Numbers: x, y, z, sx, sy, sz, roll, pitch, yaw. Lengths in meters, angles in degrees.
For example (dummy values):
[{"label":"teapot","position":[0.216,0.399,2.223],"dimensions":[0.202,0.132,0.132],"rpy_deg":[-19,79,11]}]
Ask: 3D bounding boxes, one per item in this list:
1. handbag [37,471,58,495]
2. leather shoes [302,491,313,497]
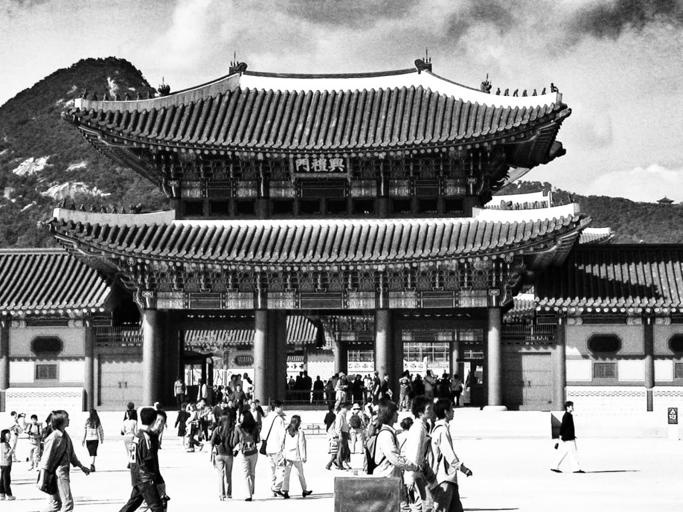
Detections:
[{"label":"handbag","position":[-9.031,7.160,53.922],"dimensions":[0.657,0.728,0.502],"rpy_deg":[-4,-10,15]},{"label":"leather shoes","position":[-1.054,7.967,57.327],"dimensions":[0.356,0.205,0.237],"rpy_deg":[3,-11,-24]}]
